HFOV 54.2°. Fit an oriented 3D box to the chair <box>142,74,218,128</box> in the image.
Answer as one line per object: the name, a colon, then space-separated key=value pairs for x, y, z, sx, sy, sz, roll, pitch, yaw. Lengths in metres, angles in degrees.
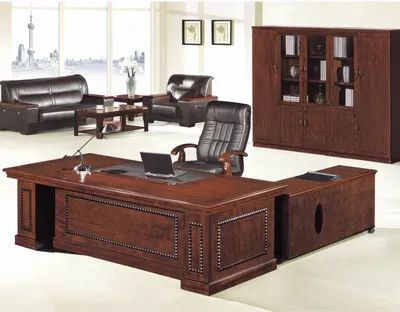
chair: x=-0.561 y=-1.509 z=10.440 sx=1.551 sy=1.230 sz=1.219 roll=12 pitch=17 yaw=38

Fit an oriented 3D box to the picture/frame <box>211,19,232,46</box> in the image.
picture/frame: x=0.595 y=-3.327 z=10.461 sx=0.753 sy=0.783 sz=0.064 roll=4 pitch=6 yaw=37

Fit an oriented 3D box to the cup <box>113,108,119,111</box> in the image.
cup: x=-1.957 y=-1.094 z=9.178 sx=0.080 sy=0.093 sz=0.084 roll=2 pitch=0 yaw=0

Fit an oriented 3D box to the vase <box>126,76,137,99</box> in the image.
vase: x=-1.866 y=-1.896 z=10.637 sx=0.244 sy=0.570 sz=0.426 roll=-2 pitch=13 yaw=-12

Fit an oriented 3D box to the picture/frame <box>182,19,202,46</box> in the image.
picture/frame: x=-0.207 y=-3.522 z=11.006 sx=0.801 sy=0.799 sz=0.068 roll=5 pitch=7 yaw=39

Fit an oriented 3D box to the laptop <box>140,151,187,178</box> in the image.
laptop: x=-0.370 y=0.040 z=3.553 sx=0.291 sy=0.204 sz=0.264 roll=3 pitch=7 yaw=28

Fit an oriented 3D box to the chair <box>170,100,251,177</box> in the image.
chair: x=0.137 y=-0.147 z=5.159 sx=0.941 sy=1.074 sz=1.071 roll=6 pitch=13 yaw=27
